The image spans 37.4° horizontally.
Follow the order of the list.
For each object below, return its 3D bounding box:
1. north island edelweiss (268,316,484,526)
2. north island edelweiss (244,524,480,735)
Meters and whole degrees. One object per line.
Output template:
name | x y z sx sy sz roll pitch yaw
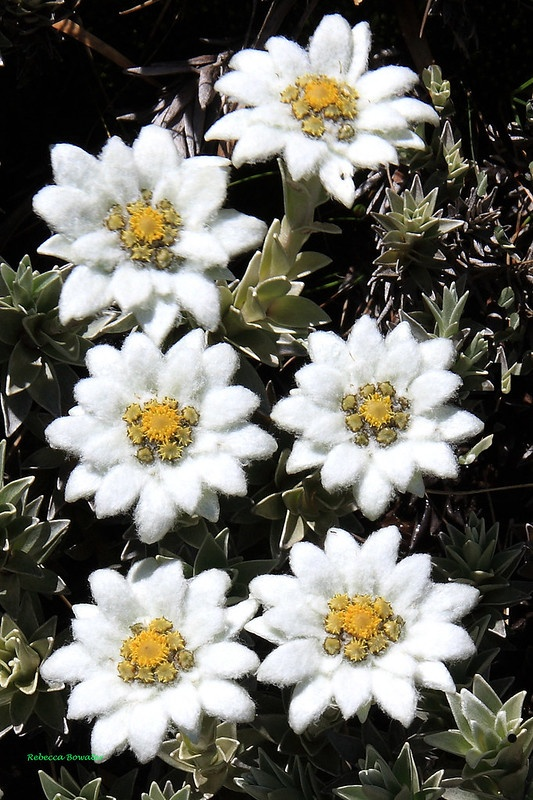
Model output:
north island edelweiss | 0.268 0.075 2.203 0.525 0.208 0.530 32 79 1
north island edelweiss | 0.211 0.547 1.889 0.516 0.134 0.533 -22 45 -16
